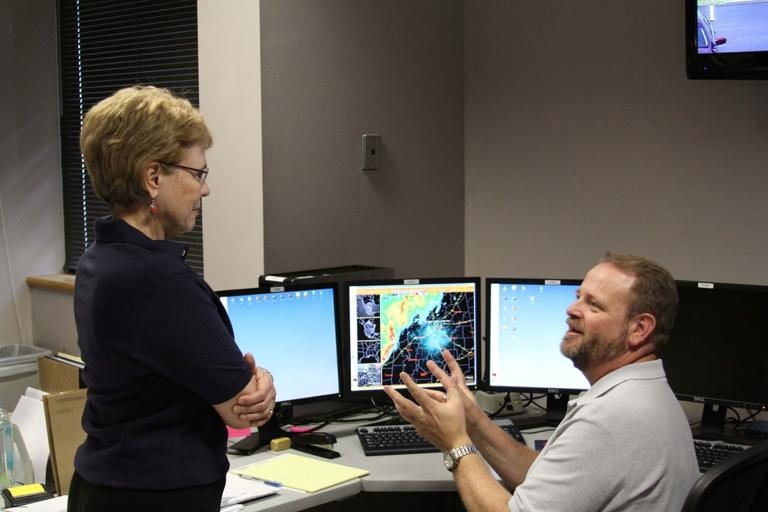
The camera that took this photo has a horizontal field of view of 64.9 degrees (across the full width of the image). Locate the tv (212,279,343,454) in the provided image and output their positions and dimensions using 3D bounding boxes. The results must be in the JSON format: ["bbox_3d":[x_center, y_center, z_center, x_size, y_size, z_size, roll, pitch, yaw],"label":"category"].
[{"bbox_3d":[-0.361,0.460,2.831,0.606,0.849,0.639,-3,-1,38],"label":"tv"}]

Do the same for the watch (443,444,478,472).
[{"bbox_3d":[0.241,0.664,2.037,0.110,0.103,0.069,10,30,-30],"label":"watch"}]

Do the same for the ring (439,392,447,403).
[{"bbox_3d":[0.209,0.512,2.173,0.010,0.030,0.023,31,8,3],"label":"ring"}]

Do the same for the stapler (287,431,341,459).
[{"bbox_3d":[-0.300,0.783,2.582,0.081,0.115,0.307,1,-1,-44],"label":"stapler"}]
